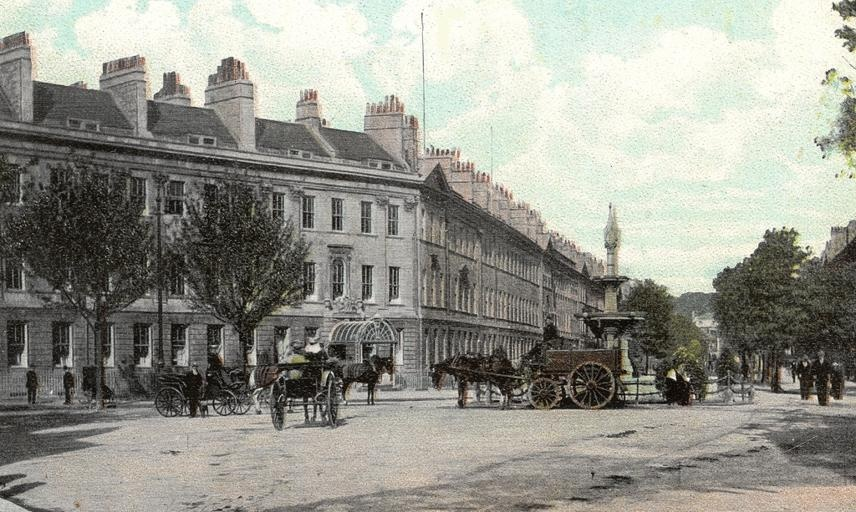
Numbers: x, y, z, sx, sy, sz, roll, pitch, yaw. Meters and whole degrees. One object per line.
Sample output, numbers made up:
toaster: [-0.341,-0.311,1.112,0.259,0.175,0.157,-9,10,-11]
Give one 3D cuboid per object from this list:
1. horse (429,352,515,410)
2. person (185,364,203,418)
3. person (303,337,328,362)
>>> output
horse: [2.384,6.083,69.838,5.815,2.973,2.011,-3,-13,28]
person: [-11.331,6.635,67.336,0.733,2.551,1.516,1,-12,-10]
person: [-5.082,4.301,62.452,0.945,0.975,1.202,-5,-8,8]
